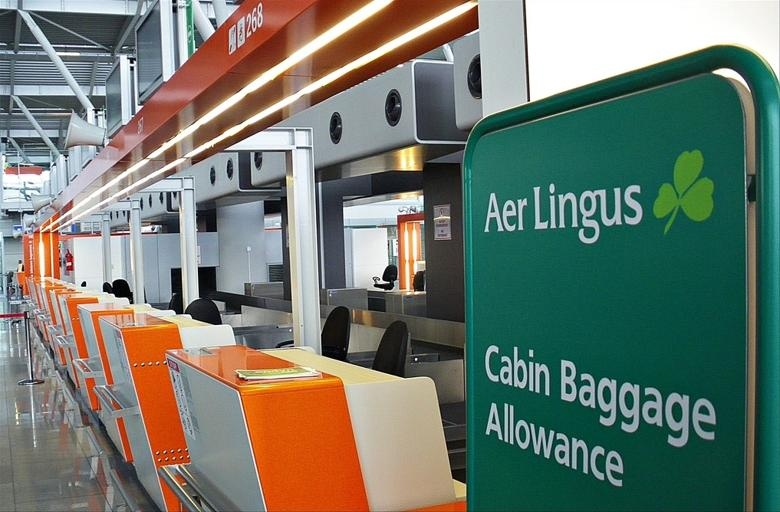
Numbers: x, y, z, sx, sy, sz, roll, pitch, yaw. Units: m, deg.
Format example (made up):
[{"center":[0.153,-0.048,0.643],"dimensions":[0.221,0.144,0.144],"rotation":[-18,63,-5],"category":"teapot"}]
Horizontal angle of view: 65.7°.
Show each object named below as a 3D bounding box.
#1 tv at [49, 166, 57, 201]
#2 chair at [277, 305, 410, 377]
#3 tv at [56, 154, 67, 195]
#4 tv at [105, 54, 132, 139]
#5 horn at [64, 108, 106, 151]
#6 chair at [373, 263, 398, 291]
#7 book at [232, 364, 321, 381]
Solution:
[{"center":[-14.772,-3.315,26.398],"dimensions":[0.109,1.397,2.196],"rotation":[2,-3,-33],"category":"tv"},{"center":[-0.377,0.735,5.306],"dimensions":[0.522,0.833,0.814],"rotation":[9,-10,-39],"category":"chair"},{"center":[-11.971,-2.930,22.056],"dimensions":[0.326,1.544,4.206],"rotation":[2,-3,-28],"category":"tv"},{"center":[-3.119,-1.826,6.957],"dimensions":[0.281,0.791,0.893],"rotation":[2,-2,-25],"category":"tv"},{"center":[-4.134,-1.709,8.196],"dimensions":[0.481,0.438,0.654],"rotation":[2,-2,-28],"category":"horn"},{"center":[0.018,0.622,18.068],"dimensions":[0.777,1.012,0.711],"rotation":[1,0,-30],"category":"chair"},{"center":[-0.462,0.482,2.485],"dimensions":[0.337,0.027,0.252],"rotation":[2,-3,-35],"category":"book"}]
